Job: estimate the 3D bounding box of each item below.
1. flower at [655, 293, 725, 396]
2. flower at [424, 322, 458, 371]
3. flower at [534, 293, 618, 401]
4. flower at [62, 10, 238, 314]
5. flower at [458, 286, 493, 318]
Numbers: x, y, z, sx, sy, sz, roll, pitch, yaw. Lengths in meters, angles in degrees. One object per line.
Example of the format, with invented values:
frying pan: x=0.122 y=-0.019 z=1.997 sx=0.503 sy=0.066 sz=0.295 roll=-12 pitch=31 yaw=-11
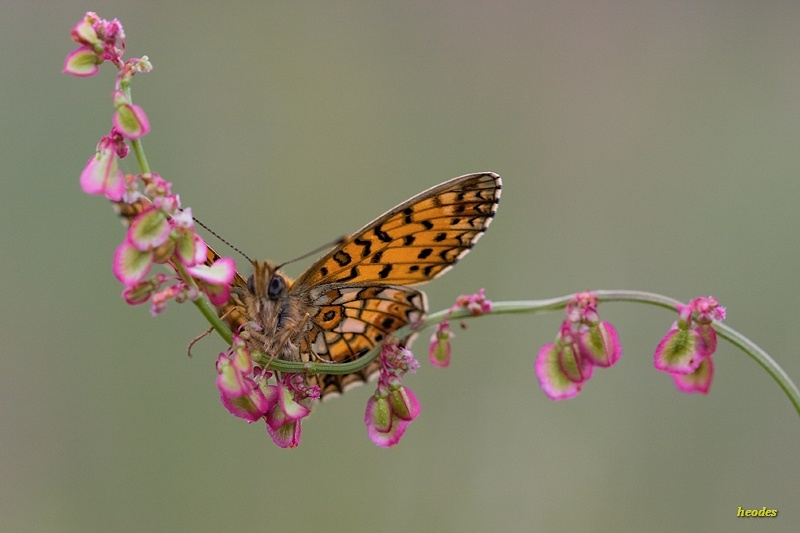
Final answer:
flower: x=0.988 y=0.266 z=3.000 sx=0.200 sy=0.350 sz=0.214 roll=9 pitch=7 yaw=22
flower: x=0.138 y=0.270 z=2.960 sx=0.071 sy=0.175 sz=0.159 roll=7 pitch=7 yaw=3
flower: x=0.599 y=0.266 z=2.997 sx=0.113 sy=0.397 sz=0.379 roll=32 pitch=28 yaw=-10
flower: x=-0.830 y=-0.350 z=2.887 sx=0.633 sy=0.903 sz=0.410 roll=13 pitch=9 yaw=40
flower: x=0.258 y=0.122 z=2.971 sx=0.140 sy=0.067 sz=0.151 roll=2 pitch=4 yaw=11
